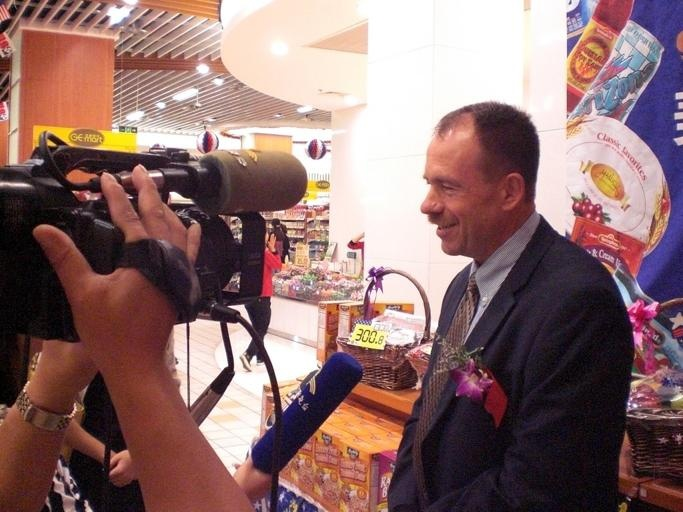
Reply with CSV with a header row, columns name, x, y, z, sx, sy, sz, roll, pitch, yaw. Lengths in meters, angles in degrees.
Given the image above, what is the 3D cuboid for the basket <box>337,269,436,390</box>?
name,x,y,z,sx,sy,sz,roll,pitch,yaw
basket,0.241,0.279,2.370,0.450,0.562,0.381,4,14,12
